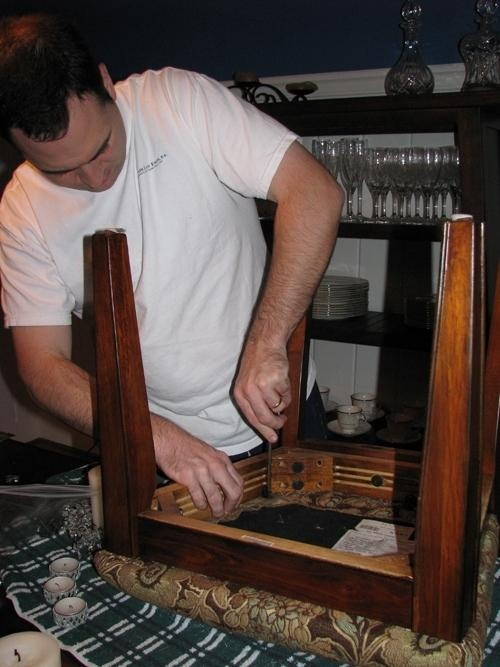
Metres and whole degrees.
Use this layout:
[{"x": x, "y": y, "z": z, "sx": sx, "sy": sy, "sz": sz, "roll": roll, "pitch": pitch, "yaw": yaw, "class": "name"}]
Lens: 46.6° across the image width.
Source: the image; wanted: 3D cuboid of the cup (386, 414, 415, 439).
[{"x": 0.442, "y": 0.267, "z": 1.693, "sx": 0.075, "sy": 0.051, "sz": 0.073, "roll": 0, "pitch": 0, "yaw": 0, "class": "cup"}]

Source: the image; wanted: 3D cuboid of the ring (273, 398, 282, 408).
[{"x": 0.038, "y": 0.093, "z": 0.779, "sx": 0.003, "sy": 0.012, "sz": 0.013, "roll": 29, "pitch": 37, "yaw": 20, "class": "ring"}]

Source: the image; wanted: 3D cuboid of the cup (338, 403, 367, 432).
[{"x": 0.315, "y": 0.257, "z": 1.768, "sx": 0.088, "sy": 0.059, "sz": 0.070, "roll": 2, "pitch": 4, "yaw": 13, "class": "cup"}]

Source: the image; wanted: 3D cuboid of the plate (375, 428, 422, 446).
[{"x": 0.437, "y": 0.299, "z": 1.703, "sx": 0.080, "sy": 0.013, "sz": 0.076, "roll": 2, "pitch": 16, "yaw": 7, "class": "plate"}]

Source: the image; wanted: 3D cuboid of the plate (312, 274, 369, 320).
[{"x": 0.297, "y": -0.116, "z": 1.892, "sx": 0.184, "sy": 0.078, "sz": 0.173, "roll": -4, "pitch": 14, "yaw": -12, "class": "plate"}]

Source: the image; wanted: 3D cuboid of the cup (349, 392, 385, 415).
[{"x": 0.373, "y": 0.225, "z": 1.875, "sx": 0.098, "sy": 0.063, "sz": 0.061, "roll": -2, "pitch": -1, "yaw": 5, "class": "cup"}]

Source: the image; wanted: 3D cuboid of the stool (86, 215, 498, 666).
[{"x": 0.038, "y": 0.093, "z": 0.701, "sx": 0.473, "sy": 0.413, "sz": 0.443, "roll": 5, "pitch": 19, "yaw": 22, "class": "stool"}]
